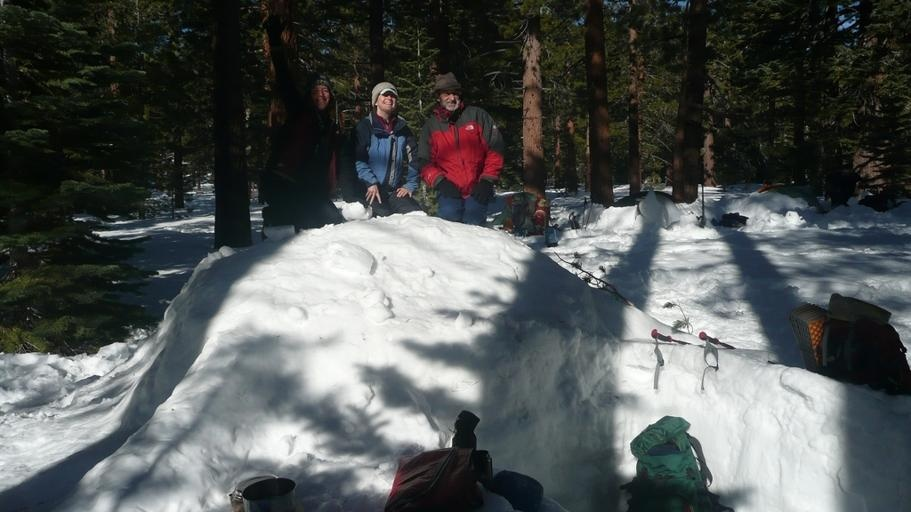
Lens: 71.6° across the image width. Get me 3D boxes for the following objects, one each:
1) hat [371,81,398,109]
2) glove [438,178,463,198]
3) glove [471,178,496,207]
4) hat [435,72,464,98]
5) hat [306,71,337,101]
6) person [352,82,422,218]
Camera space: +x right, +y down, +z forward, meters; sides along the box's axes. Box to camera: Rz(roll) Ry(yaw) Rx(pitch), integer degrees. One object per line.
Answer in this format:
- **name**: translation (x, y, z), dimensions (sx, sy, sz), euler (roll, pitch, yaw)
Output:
- **hat**: translation (-1.403, -3.162, 12.290), dimensions (0.448, 0.482, 0.519), euler (-1, 7, -8)
- **glove**: translation (-0.114, -1.319, 12.260), dimensions (0.488, 0.361, 0.138), euler (0, 6, -4)
- **glove**: translation (0.602, -1.256, 12.383), dimensions (0.550, 0.484, 0.258), euler (-5, 8, -35)
- **hat**: translation (-0.172, -3.358, 12.442), dimensions (0.450, 0.357, 0.462), euler (-5, 14, -5)
- **hat**: translation (-2.527, -3.189, 11.793), dimensions (0.452, 0.488, 0.551), euler (-2, 7, -13)
- **person**: translation (-1.340, -2.099, 12.282), dimensions (1.243, 2.591, 0.835), euler (-1, 6, -5)
